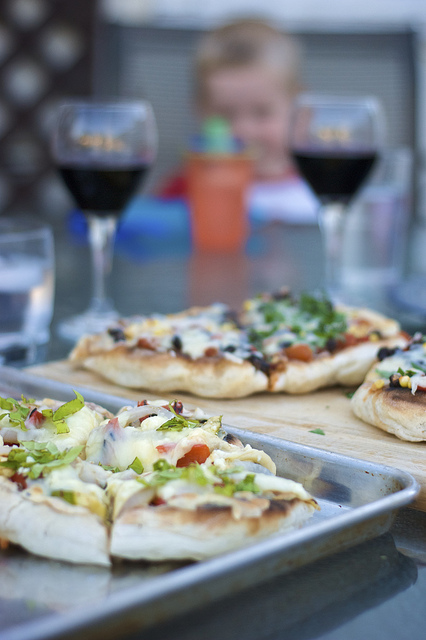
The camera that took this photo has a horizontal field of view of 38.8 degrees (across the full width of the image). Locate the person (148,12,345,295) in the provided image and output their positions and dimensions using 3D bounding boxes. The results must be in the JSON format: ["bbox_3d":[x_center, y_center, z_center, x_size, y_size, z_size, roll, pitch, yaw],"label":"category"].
[{"bbox_3d":[0.083,-0.428,1.485,0.343,0.919,0.663,2,14,7],"label":"person"}]

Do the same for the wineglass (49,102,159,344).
[{"bbox_3d":[-0.167,-0.140,0.936,0.163,0.377,0.279,-5,14,-14],"label":"wineglass"}]

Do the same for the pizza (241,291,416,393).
[{"bbox_3d":[0.155,0.027,0.823,0.185,0.042,0.168,-6,20,-19],"label":"pizza"}]

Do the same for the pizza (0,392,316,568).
[{"bbox_3d":[-0.049,0.072,0.362,0.104,0.022,0.148,-2,5,-30],"label":"pizza"}]
